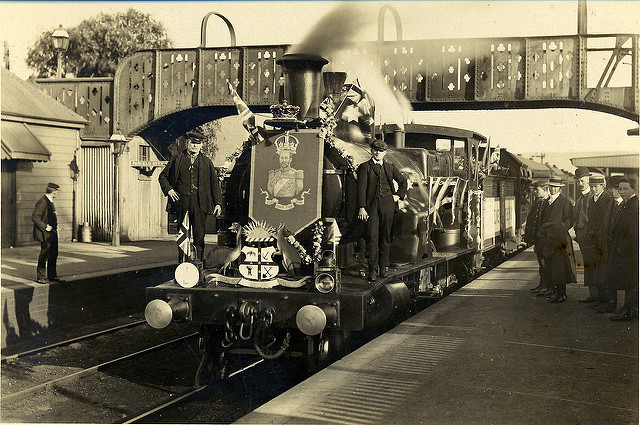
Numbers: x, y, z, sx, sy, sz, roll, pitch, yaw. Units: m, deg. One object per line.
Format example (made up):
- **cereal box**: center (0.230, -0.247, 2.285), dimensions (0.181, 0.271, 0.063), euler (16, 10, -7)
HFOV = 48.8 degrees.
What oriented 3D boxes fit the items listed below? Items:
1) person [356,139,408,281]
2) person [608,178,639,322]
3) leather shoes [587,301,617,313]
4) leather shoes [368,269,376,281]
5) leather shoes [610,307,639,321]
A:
- **person**: center (0.944, -0.059, 11.754), dimensions (0.537, 2.218, 1.147), euler (3, 14, 36)
- **person**: center (5.692, 0.715, 13.219), dimensions (0.507, 2.557, 0.976), euler (0, 12, 22)
- **leather shoes**: center (5.493, 1.858, 13.697), dimensions (0.606, 0.261, 0.189), euler (1, -1, 9)
- **leather shoes**: center (0.844, 1.026, 11.578), dimensions (0.166, 0.176, 0.325), euler (-4, 12, 5)
- **leather shoes**: center (5.678, 1.922, 13.156), dimensions (0.678, 0.289, 0.227), euler (-1, -8, -6)
